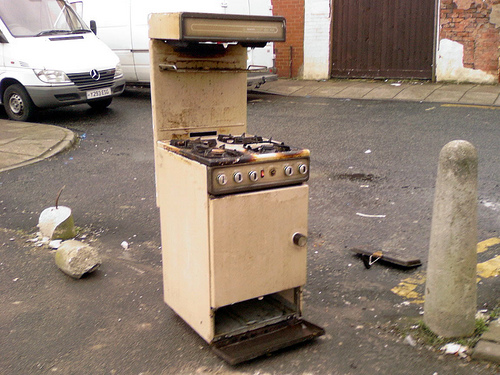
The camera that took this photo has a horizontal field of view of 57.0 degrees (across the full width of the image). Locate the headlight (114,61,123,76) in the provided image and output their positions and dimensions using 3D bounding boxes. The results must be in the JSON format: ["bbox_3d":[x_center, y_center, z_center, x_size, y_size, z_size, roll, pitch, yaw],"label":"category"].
[{"bbox_3d":[-3.241,-2.908,11.235,0.066,0.264,0.201,7,14,8],"label":"headlight"}]
